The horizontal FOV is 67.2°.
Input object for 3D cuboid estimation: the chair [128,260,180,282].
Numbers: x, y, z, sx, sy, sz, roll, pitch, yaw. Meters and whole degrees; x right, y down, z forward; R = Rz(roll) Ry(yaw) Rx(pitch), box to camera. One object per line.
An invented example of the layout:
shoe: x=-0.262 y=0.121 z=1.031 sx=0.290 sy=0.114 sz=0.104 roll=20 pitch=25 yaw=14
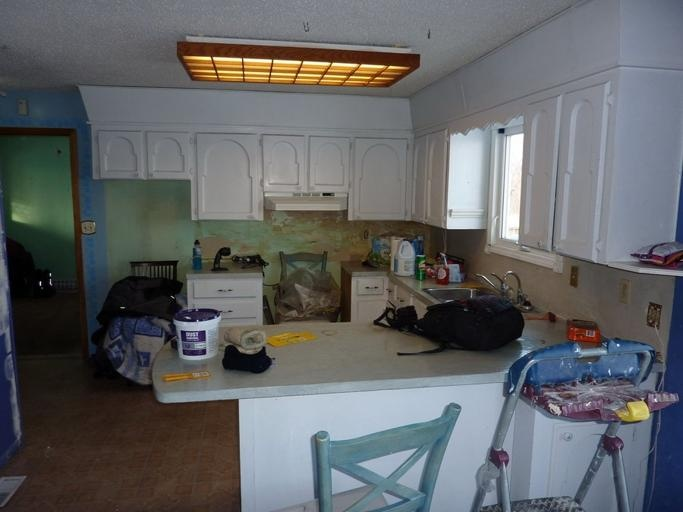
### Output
chair: x=-1.893 y=0.136 z=5.138 sx=0.474 sy=0.184 sz=0.155 roll=0 pitch=13 yaw=-1

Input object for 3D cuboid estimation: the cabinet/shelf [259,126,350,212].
cabinet/shelf: x=-0.388 y=-0.858 z=4.898 sx=0.801 sy=0.662 sz=0.329 roll=0 pitch=4 yaw=-8

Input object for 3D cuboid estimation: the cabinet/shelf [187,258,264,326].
cabinet/shelf: x=-1.043 y=0.314 z=4.916 sx=0.821 sy=0.758 sz=0.538 roll=-1 pitch=5 yaw=-10

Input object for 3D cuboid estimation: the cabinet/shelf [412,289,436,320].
cabinet/shelf: x=0.593 y=0.344 z=3.686 sx=0.110 sy=0.191 sz=0.201 roll=-2 pitch=7 yaw=-15

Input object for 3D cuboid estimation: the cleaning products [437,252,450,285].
cleaning products: x=0.884 y=0.096 z=4.462 sx=0.104 sy=0.234 sz=0.279 roll=3 pitch=13 yaw=11

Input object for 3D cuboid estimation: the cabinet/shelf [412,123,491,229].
cabinet/shelf: x=0.956 y=-0.685 z=4.361 sx=0.406 sy=0.803 sz=0.934 roll=-1 pitch=8 yaw=-6

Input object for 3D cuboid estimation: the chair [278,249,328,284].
chair: x=-0.450 y=0.116 z=5.381 sx=0.345 sy=0.552 sz=0.367 roll=0 pitch=0 yaw=-8

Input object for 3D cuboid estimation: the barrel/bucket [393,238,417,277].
barrel/bucket: x=0.572 y=0.016 z=4.761 sx=0.217 sy=0.317 sz=0.145 roll=4 pitch=14 yaw=15

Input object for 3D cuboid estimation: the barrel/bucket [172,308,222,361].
barrel/bucket: x=-0.758 y=0.405 z=2.686 sx=0.252 sy=0.221 sz=0.245 roll=1 pitch=6 yaw=0

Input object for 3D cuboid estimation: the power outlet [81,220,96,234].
power outlet: x=-2.481 y=-0.286 z=5.000 sx=0.130 sy=0.144 sz=0.047 roll=0 pitch=5 yaw=-19

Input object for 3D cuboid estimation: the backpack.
backpack: x=0.686 y=0.383 z=2.878 sx=0.476 sy=0.166 sz=0.467 roll=-1 pitch=4 yaw=-3

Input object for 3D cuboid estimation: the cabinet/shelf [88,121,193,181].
cabinet/shelf: x=-1.832 y=-0.951 z=4.708 sx=0.883 sy=0.466 sz=0.212 roll=2 pitch=13 yaw=5

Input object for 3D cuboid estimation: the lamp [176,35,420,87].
lamp: x=-0.290 y=-1.306 z=3.507 sx=1.532 sy=0.209 sz=0.643 roll=-1 pitch=13 yaw=-8
